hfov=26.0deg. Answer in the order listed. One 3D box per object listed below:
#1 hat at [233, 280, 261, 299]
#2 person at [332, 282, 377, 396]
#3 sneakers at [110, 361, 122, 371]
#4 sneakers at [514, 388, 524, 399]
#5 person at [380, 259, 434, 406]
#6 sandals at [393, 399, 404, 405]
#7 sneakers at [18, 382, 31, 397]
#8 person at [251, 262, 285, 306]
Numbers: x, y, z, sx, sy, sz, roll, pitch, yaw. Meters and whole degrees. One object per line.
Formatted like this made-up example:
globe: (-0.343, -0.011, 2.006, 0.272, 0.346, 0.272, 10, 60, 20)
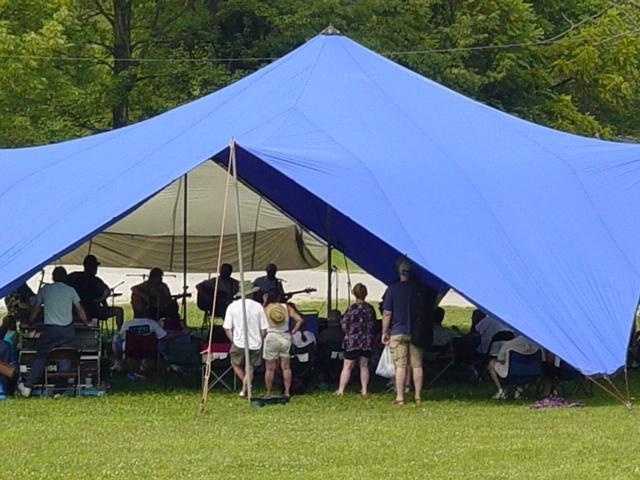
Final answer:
hat: (-1.291, 0.879, 24.567, 0.469, 0.206, 0.475, -27, 2, 24)
person: (0.626, 1.714, 23.705, 0.672, 1.876, 0.568, -2, -9, 3)
sneakers: (-3.681, 2.269, 25.068, 0.139, 0.203, 0.199, 2, -6, -10)
sneakers: (3.378, 2.594, 23.505, 0.155, 0.188, 0.093, -1, -9, -1)
person: (1.526, 1.529, 23.533, 0.982, 2.375, 0.812, 0, 0, -5)
sandals: (1.328, 2.700, 23.215, 0.153, 0.057, 0.085, 4, -2, 4)
sneakers: (-5.007, 2.531, 23.365, 0.263, 0.250, 0.117, -5, -10, 23)
person: (-1.001, 0.859, 26.707, 0.577, 1.395, 0.433, -1, 21, -8)
